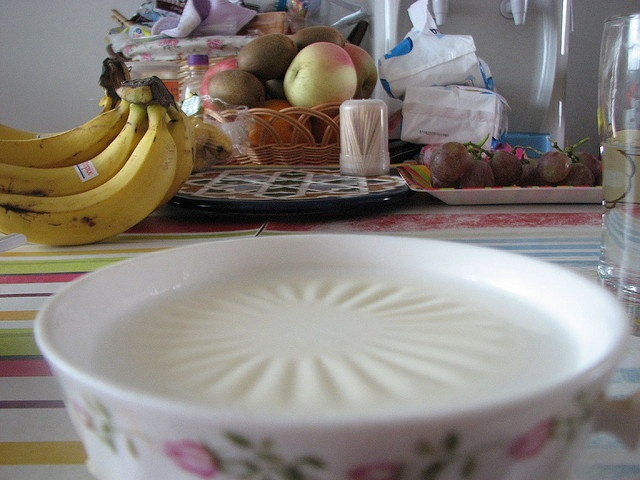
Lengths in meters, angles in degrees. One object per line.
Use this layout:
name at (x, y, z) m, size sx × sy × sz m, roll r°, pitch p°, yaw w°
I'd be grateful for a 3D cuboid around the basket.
basket at (-0.093, -0.275, 1.193) m, size 0.447 × 0.135 × 0.418 m, roll -3°, pitch 15°, yaw -12°

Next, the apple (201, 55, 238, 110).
apple at (-0.246, -0.414, 1.237) m, size 0.091 × 0.178 × 0.114 m, roll -1°, pitch 20°, yaw -7°

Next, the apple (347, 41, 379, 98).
apple at (0.127, -0.484, 1.385) m, size 0.100 × 0.203 × 0.081 m, roll 5°, pitch 22°, yaw 12°

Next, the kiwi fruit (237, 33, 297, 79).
kiwi fruit at (-0.125, -0.454, 1.163) m, size 0.139 × 0.090 × 0.094 m, roll -11°, pitch 39°, yaw 2°

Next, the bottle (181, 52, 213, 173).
bottle at (-0.344, -0.381, 1.297) m, size 0.082 × 0.262 × 0.084 m, roll 6°, pitch 24°, yaw -3°
